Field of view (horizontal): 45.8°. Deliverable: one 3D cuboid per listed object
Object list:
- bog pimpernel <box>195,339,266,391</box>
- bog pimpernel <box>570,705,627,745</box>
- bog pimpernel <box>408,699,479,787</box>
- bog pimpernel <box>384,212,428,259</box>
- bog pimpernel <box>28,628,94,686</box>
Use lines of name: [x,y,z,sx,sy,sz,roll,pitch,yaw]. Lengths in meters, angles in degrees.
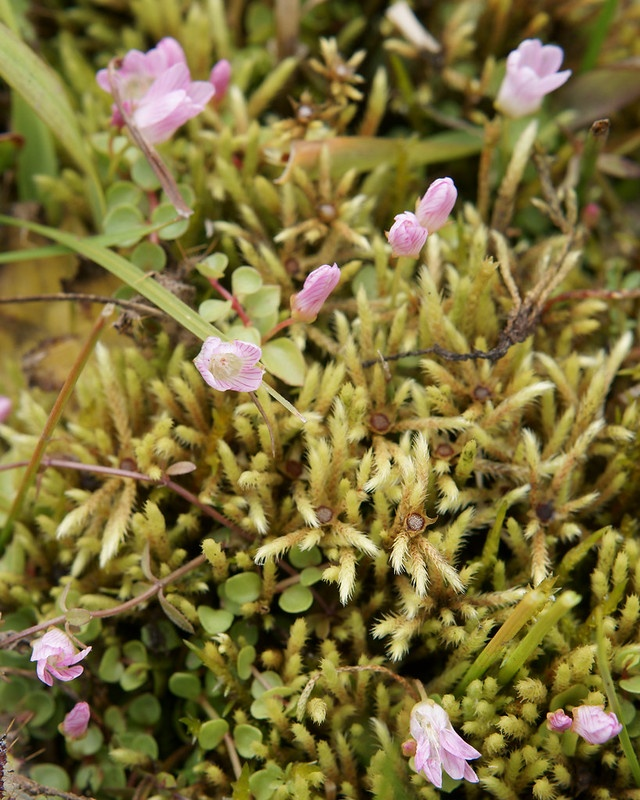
bog pimpernel: [-0.125,-0.055,1.113,0.097,0.070,0.064,-6,25,-22]
bog pimpernel: [0.383,0.449,1.054,0.069,0.041,0.056,15,42,1]
bog pimpernel: [0.154,0.477,1.040,0.082,0.036,0.123,-13,21,-16]
bog pimpernel: [0.137,-0.261,1.202,0.053,0.043,0.082,-3,-18,3]
bog pimpernel: [-0.377,0.378,1.117,0.100,0.099,0.068,3,-9,-9]
